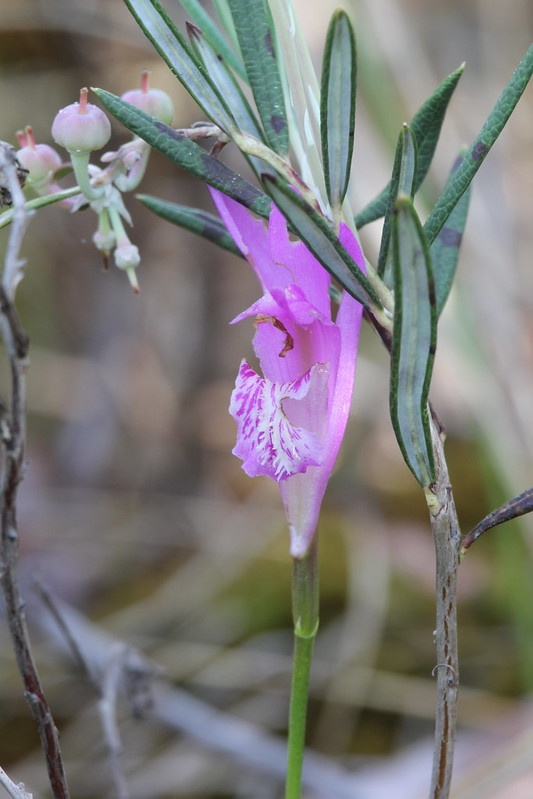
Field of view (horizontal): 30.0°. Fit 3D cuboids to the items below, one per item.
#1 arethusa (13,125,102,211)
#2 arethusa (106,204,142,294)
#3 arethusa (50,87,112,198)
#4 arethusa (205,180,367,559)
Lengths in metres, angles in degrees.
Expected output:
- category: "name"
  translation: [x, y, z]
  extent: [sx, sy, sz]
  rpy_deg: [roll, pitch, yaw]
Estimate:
- category: "arethusa"
  translation: [-0.089, -0.092, 0.394]
  extent: [0.013, 0.034, 0.012]
  rpy_deg: [-19, 5, -18]
- category: "arethusa"
  translation: [-0.059, -0.057, 0.392]
  extent: [0.011, 0.013, 0.045]
  rpy_deg: [-9, 53, -6]
- category: "arethusa"
  translation: [-0.066, -0.090, 0.359]
  extent: [0.020, 0.041, 0.020]
  rpy_deg: [25, 40, 23]
- category: "arethusa"
  translation: [0.002, -0.009, 0.358]
  extent: [0.039, 0.123, 0.063]
  rpy_deg: [-1, 16, -43]
